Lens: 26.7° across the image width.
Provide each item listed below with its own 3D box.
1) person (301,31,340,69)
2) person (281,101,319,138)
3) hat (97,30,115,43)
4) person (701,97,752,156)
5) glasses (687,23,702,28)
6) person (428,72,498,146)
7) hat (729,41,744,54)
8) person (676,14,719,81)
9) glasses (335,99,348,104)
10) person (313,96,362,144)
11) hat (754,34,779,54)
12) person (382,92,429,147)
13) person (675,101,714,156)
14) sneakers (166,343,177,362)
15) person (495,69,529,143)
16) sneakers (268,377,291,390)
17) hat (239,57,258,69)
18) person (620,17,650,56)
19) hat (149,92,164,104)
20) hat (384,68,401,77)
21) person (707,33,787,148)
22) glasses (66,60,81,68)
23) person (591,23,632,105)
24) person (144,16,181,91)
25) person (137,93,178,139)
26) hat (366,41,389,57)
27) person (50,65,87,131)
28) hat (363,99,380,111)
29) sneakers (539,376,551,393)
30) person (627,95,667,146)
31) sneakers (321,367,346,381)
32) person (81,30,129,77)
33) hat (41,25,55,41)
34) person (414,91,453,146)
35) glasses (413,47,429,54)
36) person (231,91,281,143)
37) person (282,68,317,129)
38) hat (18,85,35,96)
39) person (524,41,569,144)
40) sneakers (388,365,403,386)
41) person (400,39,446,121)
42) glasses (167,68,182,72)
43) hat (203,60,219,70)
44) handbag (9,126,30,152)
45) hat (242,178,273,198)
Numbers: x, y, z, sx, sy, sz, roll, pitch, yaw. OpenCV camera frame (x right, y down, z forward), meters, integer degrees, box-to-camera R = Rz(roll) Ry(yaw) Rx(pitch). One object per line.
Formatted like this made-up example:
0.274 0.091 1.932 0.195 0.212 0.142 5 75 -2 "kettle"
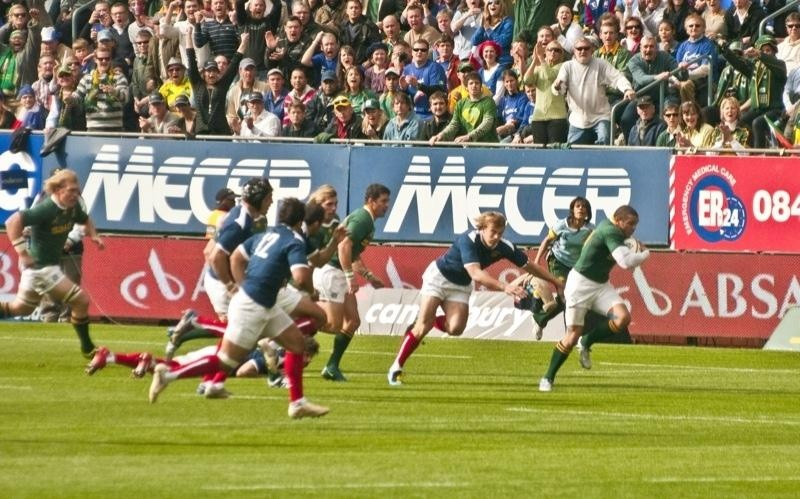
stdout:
-1.666 -4.168 35.694 0.688 1.207 0.347 -1 -7 -7 "person"
-2.099 -2.584 34.620 0.782 0.837 0.498 -2 -2 21 "person"
-6.421 -4.664 37.032 0.322 0.273 0.464 7 4 33 "hat"
6.531 -2.353 33.591 0.700 1.276 0.765 1 -2 38 "person"
6.071 -4.598 34.768 0.337 0.098 0.183 4 4 -5 "glasses"
1.325 -2.748 33.953 1.384 1.645 1.072 -11 23 -30 "person"
6.779 -4.107 34.309 0.324 0.224 0.246 22 28 34 "hat"
5.991 -4.130 34.803 0.754 1.334 0.845 1 5 10 "person"
-1.180 -2.988 34.335 0.286 0.144 0.156 4 4 -3 "glasses"
-1.204 -2.558 34.472 0.733 1.126 1.174 10 17 30 "person"
7.405 -4.117 34.296 0.352 0.340 0.408 1 -11 5 "hat"
0.029 -2.495 34.234 0.784 1.302 0.794 -9 -14 39 "person"
5.822 -2.197 33.614 0.767 1.450 0.813 -6 -3 8 "person"
-3.855 1.747 28.567 0.222 0.432 0.109 4 -7 -14 "sneakers"
2.217 -2.849 34.800 0.857 1.648 0.735 2 -6 -41 "person"
-2.051 2.300 28.747 0.344 0.170 0.291 -7 -6 8 "sneakers"
-3.195 -3.895 35.555 0.347 0.245 0.572 4 4 -6 "hat"
4.865 -4.315 35.216 0.617 1.101 0.531 -4 4 -4 "person"
-5.036 -3.121 35.091 0.262 0.222 0.458 0 -2 -5 "hat"
-0.137 -3.634 34.794 0.252 0.172 0.436 1 1 9 "hat"
6.985 -3.096 34.063 1.461 2.592 1.062 19 -28 -26 "person"
-7.002 -3.978 36.302 0.187 0.100 0.229 -2 -6 -6 "glasses"
4.214 -3.887 34.704 1.002 1.613 1.029 -6 30 -12 "person"
-5.095 -4.029 36.751 0.754 2.040 0.575 -6 -5 21 "person"
-4.993 -2.827 35.239 0.690 0.827 1.022 2 5 -35 "person"
-0.475 -4.234 35.818 0.316 0.156 0.397 -3 -6 -17 "hat"
-6.955 -3.188 35.619 0.688 1.314 0.848 2 4 -22 "person"
-0.560 -2.930 34.425 0.351 0.245 0.312 4 4 -9 "hat"
2.496 2.336 29.062 0.227 0.239 0.294 4 4 0 "sneakers"
4.936 -2.547 33.928 0.667 1.510 0.502 -10 -14 33 "person"
-1.152 2.205 29.482 0.410 0.248 0.199 13 6 -8 "sneakers"
-6.370 -4.211 36.720 0.652 1.432 0.475 -15 -20 -18 "person"
-7.706 -4.739 37.355 0.336 0.337 0.413 3 4 -18 "hat"
0.767 -2.679 34.532 0.908 1.499 0.845 -2 -6 14 "person"
0.454 -4.106 34.909 0.318 0.115 0.231 4 4 -12 "glasses"
-2.926 -2.711 34.854 0.682 0.924 1.150 -5 -17 2 "person"
-2.085 -3.014 35.107 0.667 1.570 0.784 -6 -11 5 "person"
-7.900 -3.356 35.989 0.215 0.267 0.299 15 -5 -22 "hat"
2.985 -2.867 34.333 0.790 2.767 0.773 8 -11 -33 "person"
-0.074 2.204 29.302 0.232 0.344 0.297 4 4 0 "sneakers"
0.388 -3.383 34.996 0.856 1.855 0.940 -1 8 9 "person"
-4.794 -3.821 35.918 0.295 0.103 0.130 6 4 15 "glasses"
-3.977 -3.871 35.572 0.238 0.206 0.417 1 -6 -12 "hat"
-7.717 -2.197 34.479 0.181 0.514 0.330 20 -11 -34 "handbag"
-2.408 -1.038 27.987 0.318 0.217 0.374 -2 -7 -44 "hat"
